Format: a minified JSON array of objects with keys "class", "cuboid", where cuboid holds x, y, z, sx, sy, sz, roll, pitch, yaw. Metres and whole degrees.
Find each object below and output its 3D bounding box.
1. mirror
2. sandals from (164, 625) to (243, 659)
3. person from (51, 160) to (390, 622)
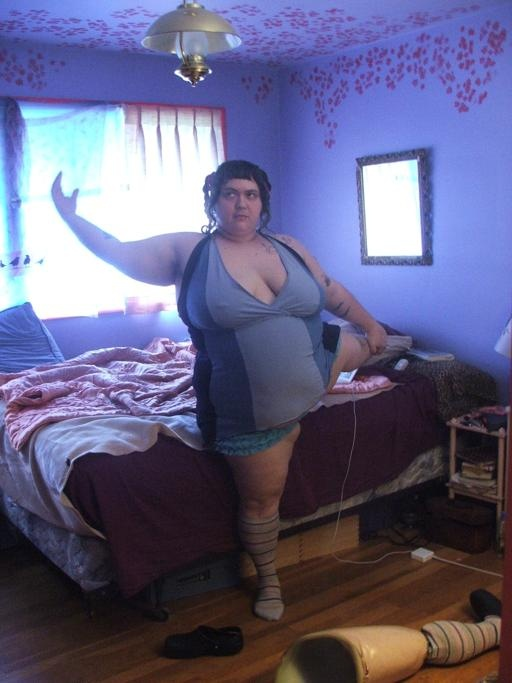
[{"class":"mirror","cuboid":[0.786,-0.762,3.195,0.063,0.754,0.714,-14,14,-32]},{"class":"sandals","cuboid":[-0.148,0.827,1.594,0.186,0.060,0.086,1,1,-2]},{"class":"person","cuboid":[-0.025,0.158,1.755,0.985,1.400,0.408,-3,3,-30]}]
